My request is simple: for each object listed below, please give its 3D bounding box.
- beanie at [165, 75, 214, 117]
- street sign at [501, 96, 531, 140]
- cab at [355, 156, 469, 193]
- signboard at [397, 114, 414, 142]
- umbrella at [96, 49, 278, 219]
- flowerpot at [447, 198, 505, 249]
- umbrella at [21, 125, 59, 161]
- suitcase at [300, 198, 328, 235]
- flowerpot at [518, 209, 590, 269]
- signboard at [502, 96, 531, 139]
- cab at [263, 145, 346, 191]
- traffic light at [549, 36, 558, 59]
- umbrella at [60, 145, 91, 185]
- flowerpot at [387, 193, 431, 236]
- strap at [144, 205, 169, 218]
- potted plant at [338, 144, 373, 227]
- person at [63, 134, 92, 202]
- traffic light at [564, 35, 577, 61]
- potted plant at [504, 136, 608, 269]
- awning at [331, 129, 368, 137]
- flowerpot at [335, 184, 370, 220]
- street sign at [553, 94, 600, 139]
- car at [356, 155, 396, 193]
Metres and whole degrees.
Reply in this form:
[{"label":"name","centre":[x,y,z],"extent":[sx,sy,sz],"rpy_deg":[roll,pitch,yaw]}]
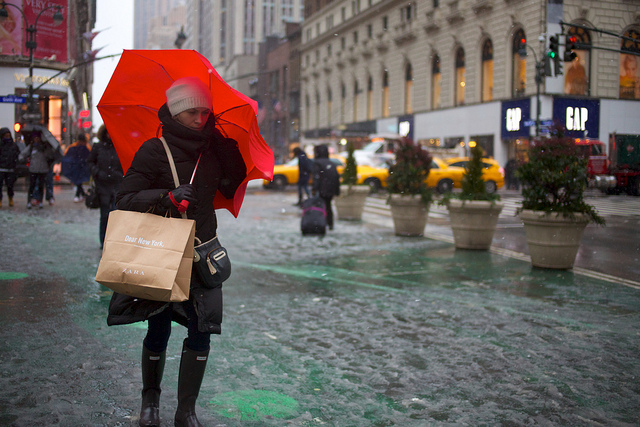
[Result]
[{"label":"beanie","centre":[-1.197,-1.080,5.681],"extent":[0.350,0.347,0.352],"rpy_deg":[7,13,14]},{"label":"street sign","centre":[12.000,-6.020,38.984],"extent":[2.485,2.527,1.371],"rpy_deg":[-6,11,-16]},{"label":"cab","centre":[4.232,-1.813,28.549],"extent":[5.031,1.752,2.380],"rpy_deg":[2,2,-2]},{"label":"signboard","centre":[6.951,-7.269,49.722],"extent":[0.653,1.637,3.056],"rpy_deg":[-1,12,-10]},{"label":"umbrella","centre":[-1.091,-1.048,5.943],"extent":[1.729,1.794,0.645],"rpy_deg":[24,41,16]},{"label":"flowerpot","centre":[3.229,0.202,12.959],"extent":[1.260,1.030,1.292],"rpy_deg":[5,5,37]},{"label":"umbrella","centre":[-8.059,-2.057,17.604],"extent":[1.407,0.951,0.519],"rpy_deg":[11,15,41]},{"label":"suitcase","centre":[-0.144,0.072,14.863],"extent":[0.556,0.810,0.675],"rpy_deg":[2,12,7]},{"label":"flowerpot","centre":[4.064,0.349,10.623],"extent":[0.978,0.782,1.032],"rpy_deg":[1,2,-28]},{"label":"signboard","centre":[12.151,-5.999,38.727],"extent":[2.524,2.332,0.900],"rpy_deg":[-6,9,-23]},{"label":"cab","centre":[-0.592,-2.398,32.388],"extent":[4.747,1.770,2.248],"rpy_deg":[1,4,-2]},{"label":"traffic light","centre":[8.951,-6.327,23.429],"extent":[0.312,0.839,0.615],"rpy_deg":[6,12,23]},{"label":"umbrella","centre":[-5.506,-1.071,13.763],"extent":[0.566,0.748,1.011],"rpy_deg":[-4,13,-23]},{"label":"flowerpot","centre":[2.092,0.032,14.500],"extent":[0.878,0.986,0.317],"rpy_deg":[2,11,7]},{"label":"strap","centre":[-1.475,-0.027,5.469],"extent":[0.092,0.100,0.027],"rpy_deg":[23,-6,-2]},{"label":"potted plant","centre":[0.985,-0.900,18.396],"extent":[1.079,2.057,1.088],"rpy_deg":[-3,9,34]},{"label":"person","centre":[-6.636,-1.078,16.967],"extent":[0.940,2.361,0.671],"rpy_deg":[-3,23,-24]},{"label":"traffic light","centre":[9.224,-6.093,22.522],"extent":[0.369,0.920,1.304],"rpy_deg":[5,13,21]},{"label":"potted plant","centre":[4.443,-0.231,11.671],"extent":[2.019,2.829,2.078],"rpy_deg":[3,3,42]},{"label":"awning","centre":[2.562,-6.801,52.010],"extent":[1.928,0.483,2.197],"rpy_deg":[2,2,31]},{"label":"flowerpot","centre":[1.019,-0.362,18.263],"extent":[0.964,0.890,0.990],"rpy_deg":[2,3,27]},{"label":"street sign","centre":[14.028,-5.224,33.306],"extent":[0.278,2.380,2.630],"rpy_deg":[-22,24,-37]},{"label":"car","centre":[2.504,-1.979,29.449],"extent":[1.707,1.220,2.955],"rpy_deg":[0,-1,2]}]
